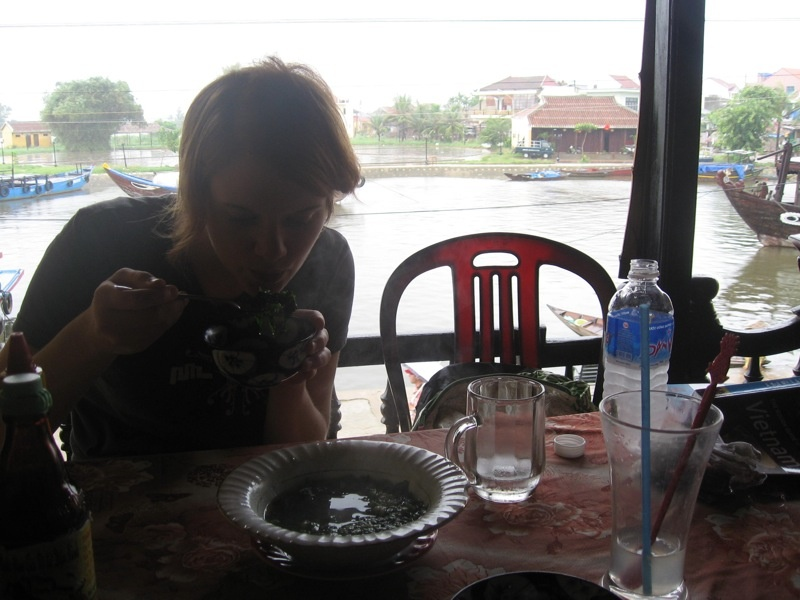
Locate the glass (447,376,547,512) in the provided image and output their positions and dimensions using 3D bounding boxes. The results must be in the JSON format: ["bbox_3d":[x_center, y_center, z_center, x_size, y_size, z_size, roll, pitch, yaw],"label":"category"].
[{"bbox_3d":[0.176,0.240,1.203,0.238,0.193,0.148,-11,14,-37],"label":"glass"}]

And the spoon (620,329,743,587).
[{"bbox_3d":[0.425,0.250,1.017,0.053,0.403,0.021,30,2,38],"label":"spoon"}]

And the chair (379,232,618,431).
[{"bbox_3d":[0.298,0.118,2.305,0.681,0.938,0.679,-1,-10,1],"label":"chair"}]

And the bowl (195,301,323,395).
[{"bbox_3d":[-0.255,0.078,1.214,0.151,0.079,0.150,2,17,-1],"label":"bowl"}]
